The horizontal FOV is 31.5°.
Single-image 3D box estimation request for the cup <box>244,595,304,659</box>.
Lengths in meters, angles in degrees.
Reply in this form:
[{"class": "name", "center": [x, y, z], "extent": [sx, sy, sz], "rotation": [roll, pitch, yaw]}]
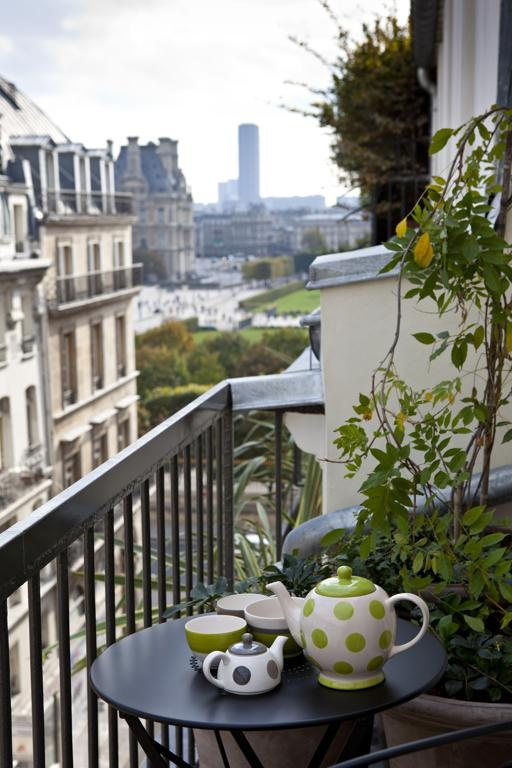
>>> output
[{"class": "cup", "center": [0.017, 0.316, 1.222], "extent": [0.063, 0.056, 0.074], "rotation": [-3, -1, 4]}]
